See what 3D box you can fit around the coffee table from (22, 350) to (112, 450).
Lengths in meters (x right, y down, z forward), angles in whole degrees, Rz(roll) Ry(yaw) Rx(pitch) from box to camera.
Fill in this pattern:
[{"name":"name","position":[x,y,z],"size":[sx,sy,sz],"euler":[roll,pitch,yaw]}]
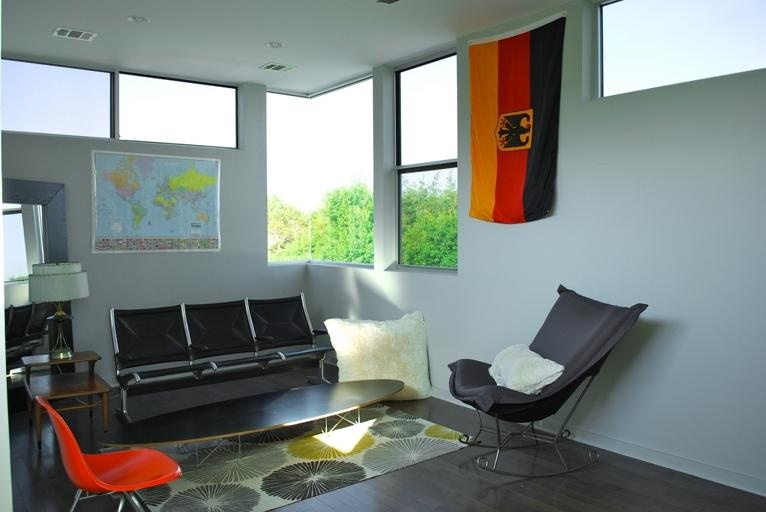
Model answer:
[{"name":"coffee table","position":[-3.352,1.450,5.393],"size":[0.729,0.584,1.166],"euler":[0,5,-41]}]

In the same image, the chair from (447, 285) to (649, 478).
[{"name":"chair","position":[1.436,1.063,4.979],"size":[1.665,1.462,1.667],"euler":[-3,-2,-6]}]

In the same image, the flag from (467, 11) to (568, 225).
[{"name":"flag","position":[1.381,-1.388,5.425],"size":[0.999,2.048,0.290],"euler":[7,13,40]}]

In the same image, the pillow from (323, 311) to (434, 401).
[{"name":"pillow","position":[-0.053,1.297,6.384],"size":[1.273,1.104,0.470],"euler":[-5,-8,4]}]

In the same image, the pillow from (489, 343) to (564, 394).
[{"name":"pillow","position":[1.264,1.029,4.787],"size":[0.562,0.263,0.780],"euler":[-13,3,-2]}]

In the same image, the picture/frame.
[{"name":"picture/frame","position":[-3.107,-0.723,6.826],"size":[1.566,1.240,0.055],"euler":[0,0,-33]}]
